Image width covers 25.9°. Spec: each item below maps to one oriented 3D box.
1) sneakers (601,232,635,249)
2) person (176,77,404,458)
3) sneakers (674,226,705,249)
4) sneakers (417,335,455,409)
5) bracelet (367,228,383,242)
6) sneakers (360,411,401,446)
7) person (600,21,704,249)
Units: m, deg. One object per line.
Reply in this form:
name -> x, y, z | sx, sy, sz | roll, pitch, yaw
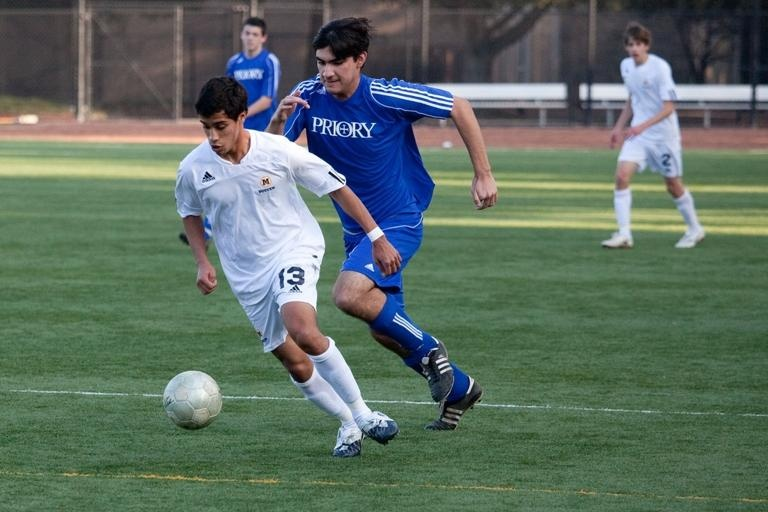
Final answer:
sneakers -> 1.876, -0.124, 13.249 | 0.300, 0.124, 0.102 | 1, 1, -16
person -> -0.677, 0.058, 11.181 | 1.456, 2.496, 0.562 | -1, 10, 0
sneakers -> 2.470, -0.147, 13.370 | 0.251, 0.100, 0.123 | -32, -7, -6
sneakers -> 0.354, 0.783, 11.481 | 0.228, 0.470, 0.183 | -9, -16, -15
bracelet -> -0.058, -0.150, 11.232 | 0.103, 0.062, 0.096 | -34, 5, -3
sneakers -> -0.033, 1.130, 11.157 | 0.295, 0.149, 0.151 | 21, -10, 45
person -> 2.193, -0.973, 13.418 | 0.707, 1.761, 0.643 | 0, 10, 6
